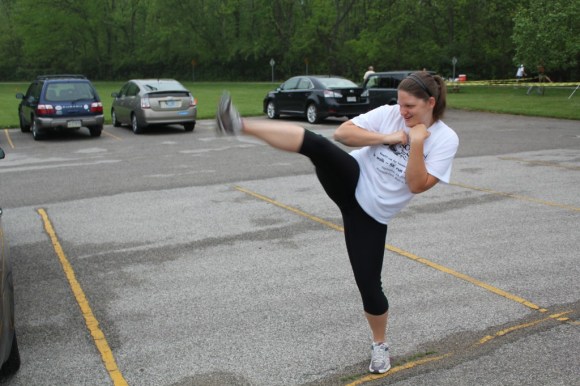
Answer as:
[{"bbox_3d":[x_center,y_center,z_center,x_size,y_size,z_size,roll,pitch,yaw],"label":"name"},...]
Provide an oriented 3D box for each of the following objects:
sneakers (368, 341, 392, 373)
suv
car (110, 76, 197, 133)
[{"bbox_3d":[0.765,1.401,4.082,0.133,0.132,0.316,-3,0,7],"label":"sneakers"},{"bbox_3d":[-8.024,-2.985,16.520,3.164,2.047,1.977,11,18,39],"label":"suv"},{"bbox_3d":[-5.166,-3.258,17.722,3.279,1.854,1.760,11,18,39],"label":"car"}]
